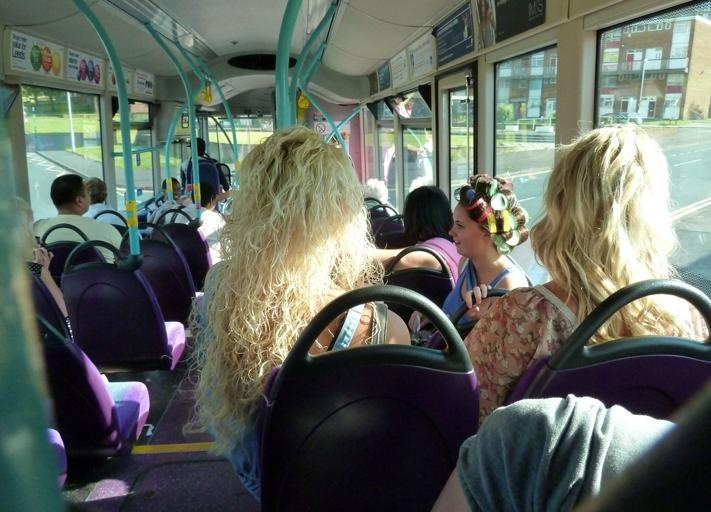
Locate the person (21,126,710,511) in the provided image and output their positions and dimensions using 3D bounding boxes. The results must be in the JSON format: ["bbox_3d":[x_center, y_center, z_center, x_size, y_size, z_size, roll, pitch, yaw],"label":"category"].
[{"bbox_3d":[0.226,0.059,1.837,1.284,1.554,0.823,1,6,2],"label":"person"}]
